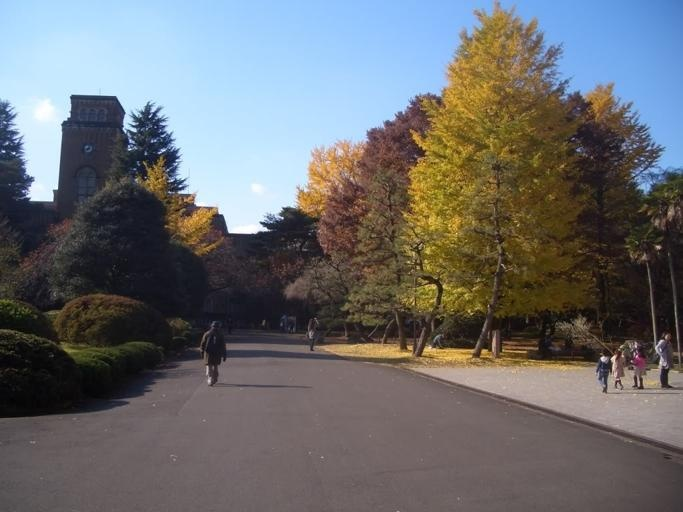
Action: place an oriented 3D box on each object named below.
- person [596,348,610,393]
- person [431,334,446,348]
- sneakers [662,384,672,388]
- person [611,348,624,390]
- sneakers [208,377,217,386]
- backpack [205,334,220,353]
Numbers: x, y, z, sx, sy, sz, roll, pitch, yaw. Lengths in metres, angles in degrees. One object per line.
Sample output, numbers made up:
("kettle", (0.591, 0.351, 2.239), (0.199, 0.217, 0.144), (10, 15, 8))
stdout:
("person", (8.156, 3.561, 17.398), (0.319, 1.267, 2.187), (1, -9, 25))
("person", (5.881, 5.171, 34.183), (0.735, 0.835, 0.717), (7, -7, -18))
("sneakers", (10.538, 4.207, 18.047), (0.254, 0.122, 0.585), (-2, -11, 40))
("person", (8.981, 3.646, 18.125), (0.304, 1.291, 1.509), (1, -8, 27))
("sneakers", (-3.847, 3.751, 16.600), (0.140, 0.207, 0.285), (2, -19, -5))
("backpack", (-3.995, 2.687, 17.313), (0.499, 0.380, 0.654), (2, 37, -11))
